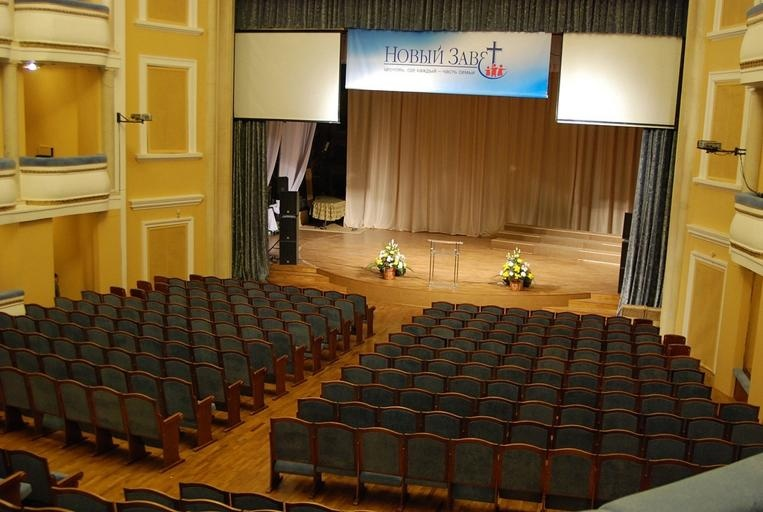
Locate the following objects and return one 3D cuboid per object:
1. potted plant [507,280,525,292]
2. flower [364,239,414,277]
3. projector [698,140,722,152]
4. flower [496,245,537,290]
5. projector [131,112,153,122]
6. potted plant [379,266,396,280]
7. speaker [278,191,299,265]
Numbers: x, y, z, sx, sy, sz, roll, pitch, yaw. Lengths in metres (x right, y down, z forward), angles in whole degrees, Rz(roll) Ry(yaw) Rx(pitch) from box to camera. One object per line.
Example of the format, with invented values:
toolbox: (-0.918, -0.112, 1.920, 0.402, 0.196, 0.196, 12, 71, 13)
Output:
potted plant: (3.405, 0.762, 14.682, 0.280, 0.204, 0.278, 0, 1, 6)
flower: (0.163, 0.138, 15.610, 1.046, 0.745, 1.045, 4, 9, 15)
projector: (6.367, -2.134, 11.276, 0.401, 0.200, 1.138, 8, 14, 29)
flower: (3.566, 0.276, 15.198, 1.089, 1.302, 1.092, 4, 11, 17)
projector: (-5.558, -3.220, 13.533, 0.272, 0.144, 0.374, 4, 7, 17)
potted plant: (0.159, 0.409, 15.377, 0.351, 0.352, 0.367, 4, 10, 10)
speaker: (-2.567, -0.742, 16.193, 0.514, 2.083, 0.383, -1, 12, -12)
